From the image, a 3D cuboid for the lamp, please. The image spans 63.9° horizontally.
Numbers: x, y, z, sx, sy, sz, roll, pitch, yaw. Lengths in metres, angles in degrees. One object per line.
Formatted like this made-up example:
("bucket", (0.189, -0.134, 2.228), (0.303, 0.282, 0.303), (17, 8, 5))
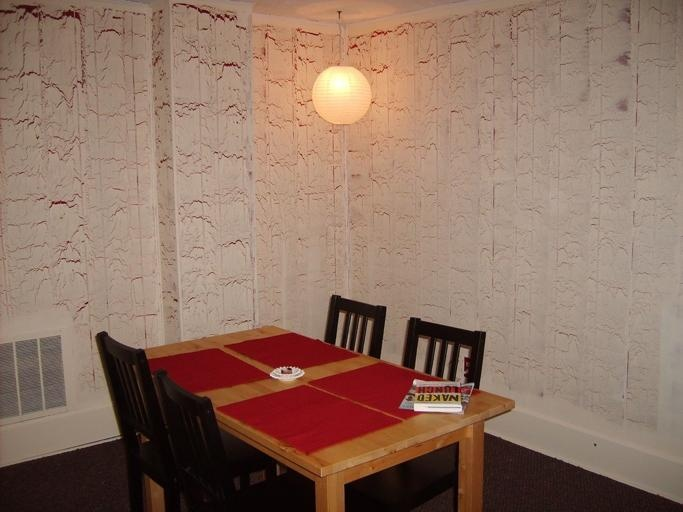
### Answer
("lamp", (-0.003, -1.437, 4.190), (0.410, 0.925, 0.437), (3, 3, -5))
